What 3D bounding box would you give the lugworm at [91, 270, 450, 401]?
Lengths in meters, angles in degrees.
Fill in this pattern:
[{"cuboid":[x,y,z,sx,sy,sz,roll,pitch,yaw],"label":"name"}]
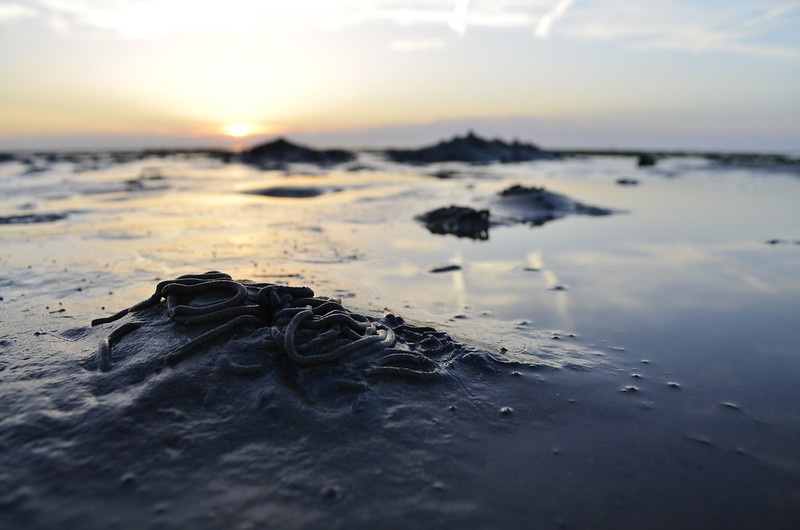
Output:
[{"cuboid":[-1.439,0.722,7.427,4.234,0.965,1.544,0,14,4],"label":"lugworm"}]
